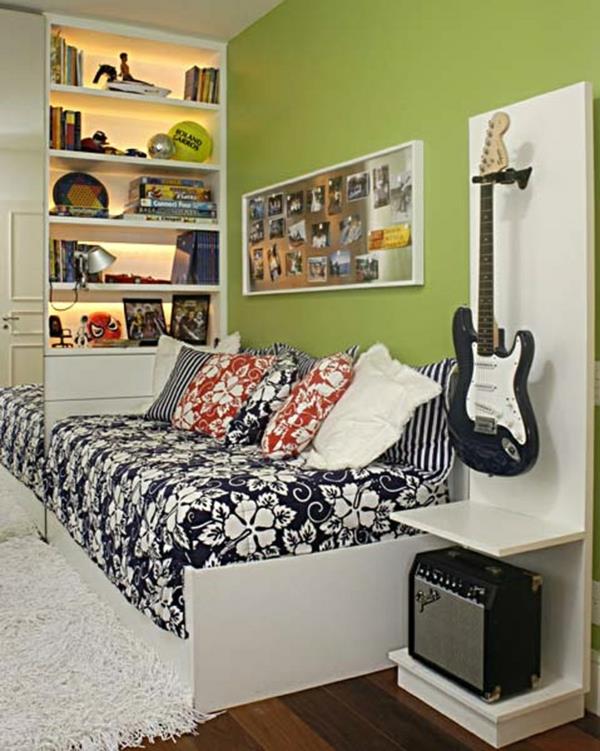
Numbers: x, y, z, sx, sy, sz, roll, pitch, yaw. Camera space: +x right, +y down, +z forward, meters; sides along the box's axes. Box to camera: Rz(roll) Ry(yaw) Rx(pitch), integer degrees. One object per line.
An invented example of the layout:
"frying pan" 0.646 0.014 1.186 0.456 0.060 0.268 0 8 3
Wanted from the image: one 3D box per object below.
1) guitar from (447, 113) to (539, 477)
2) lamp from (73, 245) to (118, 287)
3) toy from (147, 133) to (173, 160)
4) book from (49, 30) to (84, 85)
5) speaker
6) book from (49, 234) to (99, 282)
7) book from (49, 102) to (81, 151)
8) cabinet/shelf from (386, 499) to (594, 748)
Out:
"guitar" 0.522 -0.211 1.679 0.167 0.844 0.342 3 0 -22
"lamp" -1.042 -0.552 3.218 0.255 0.241 0.173 7 12 28
"toy" -0.742 -1.224 3.429 0.136 0.142 0.095 3 0 -12
"book" -1.158 -1.566 3.184 0.161 0.295 0.128 3 0 -24
"speaker" 0.447 0.536 1.649 0.248 0.401 0.412 3 -6 -22
"book" -1.168 -0.574 3.210 0.207 0.264 0.280 2 2 37
"book" -1.163 -1.218 3.179 0.154 0.235 0.097 3 0 -26
"cabinet/shelf" 0.467 0.529 1.771 0.438 0.641 0.577 1 -1 -27
